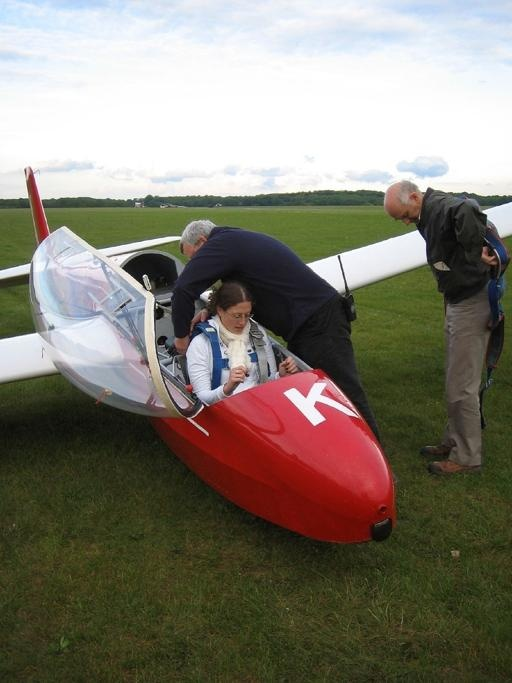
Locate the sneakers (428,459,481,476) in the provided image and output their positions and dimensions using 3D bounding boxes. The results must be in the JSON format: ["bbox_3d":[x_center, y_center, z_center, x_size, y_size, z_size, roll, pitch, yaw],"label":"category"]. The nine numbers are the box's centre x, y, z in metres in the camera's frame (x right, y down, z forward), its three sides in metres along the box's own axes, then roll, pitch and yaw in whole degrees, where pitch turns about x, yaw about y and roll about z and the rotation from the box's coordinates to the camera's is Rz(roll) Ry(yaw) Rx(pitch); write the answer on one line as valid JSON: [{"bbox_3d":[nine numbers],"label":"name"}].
[{"bbox_3d":[1.224,0.766,3.350,0.274,0.099,0.109,4,2,3],"label":"sneakers"}]

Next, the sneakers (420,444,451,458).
[{"bbox_3d":[1.153,0.707,3.525,0.190,0.072,0.076,-6,20,10],"label":"sneakers"}]

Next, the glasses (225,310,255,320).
[{"bbox_3d":[-0.095,-0.143,2.691,0.073,0.022,0.072,-9,24,-25],"label":"glasses"}]

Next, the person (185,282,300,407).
[{"bbox_3d":[-0.085,0.084,2.845,0.583,0.750,0.431,-20,29,-34],"label":"person"}]
